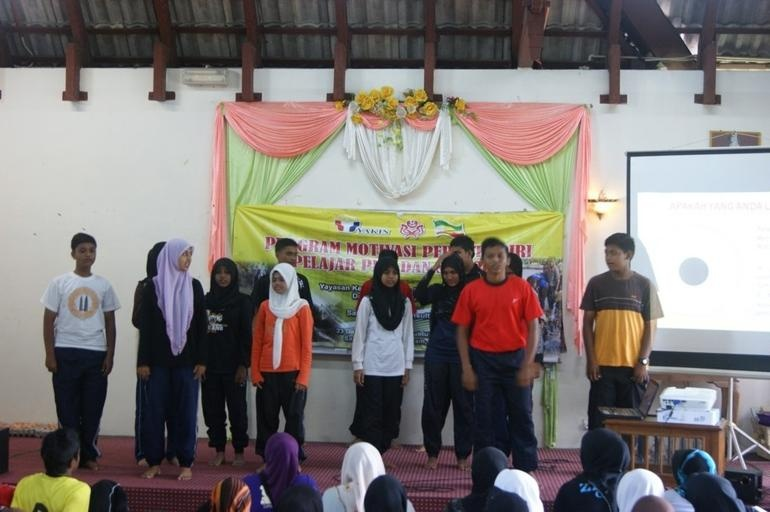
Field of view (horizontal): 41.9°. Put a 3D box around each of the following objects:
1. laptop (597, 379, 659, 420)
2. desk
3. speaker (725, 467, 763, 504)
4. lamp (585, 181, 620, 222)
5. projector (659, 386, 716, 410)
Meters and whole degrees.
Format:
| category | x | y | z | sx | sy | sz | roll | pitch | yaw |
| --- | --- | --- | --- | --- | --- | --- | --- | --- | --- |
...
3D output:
| category | x | y | z | sx | sy | sz | roll | pitch | yaw |
| --- | --- | --- | --- | --- | --- | --- | --- | --- | --- |
| laptop | 2.217 | 1.305 | 9.081 | 0.433 | 0.273 | 0.404 | 10 | 10 | -33 |
| desk | 2.607 | 1.741 | 9.293 | 1.024 | 0.631 | 1.060 | 1 | 3 | 19 |
| speaker | 3.171 | 1.988 | 8.889 | 0.336 | 0.352 | 0.303 | -6 | -5 | 30 |
| lamp | 2.225 | -0.515 | 10.313 | 0.308 | 0.303 | 0.298 | 3 | 11 | 5 |
| projector | 2.747 | 1.273 | 9.077 | 0.425 | 0.160 | 0.455 | 1 | 3 | 27 |
